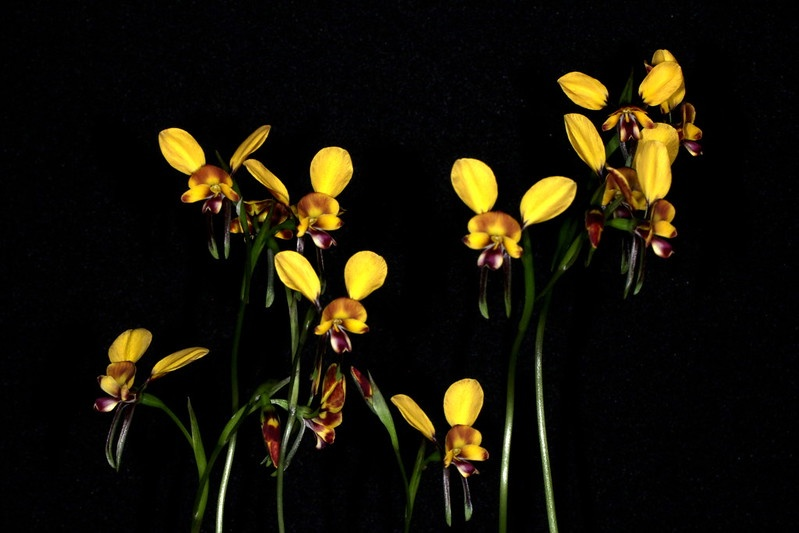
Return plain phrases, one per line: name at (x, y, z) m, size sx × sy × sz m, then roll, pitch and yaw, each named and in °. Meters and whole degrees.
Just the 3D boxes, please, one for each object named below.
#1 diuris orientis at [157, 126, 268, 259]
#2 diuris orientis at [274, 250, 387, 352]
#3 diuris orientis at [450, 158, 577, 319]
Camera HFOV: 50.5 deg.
diuris orientis at (-0.330, -0.125, 1.506) m, size 0.196 × 0.110 × 0.254 m, roll 2°, pitch -74°, yaw 2°
diuris orientis at (-0.124, 0.075, 1.434) m, size 0.178 × 0.191 × 0.127 m, roll 7°, pitch -38°, yaw -1°
diuris orientis at (0.153, -0.037, 1.409) m, size 0.209 × 0.292 × 0.086 m, roll 14°, pitch -33°, yaw 20°
